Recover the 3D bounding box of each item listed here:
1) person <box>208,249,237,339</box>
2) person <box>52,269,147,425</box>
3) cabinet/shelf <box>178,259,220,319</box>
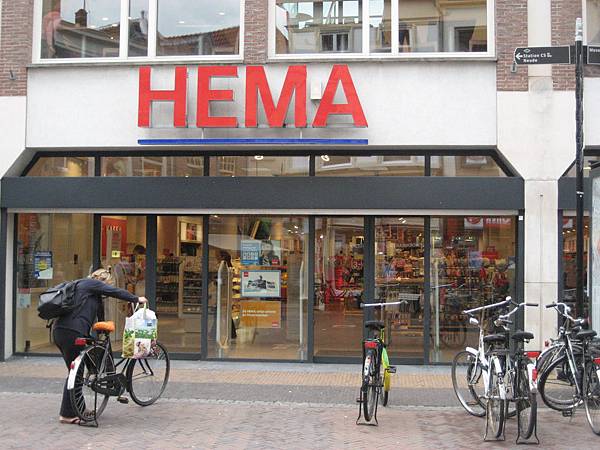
[{"bbox_3d":[-1.640,1.490,18.293,0.528,1.882,0.320,-1,8,-6],"label":"person"},{"bbox_3d":[-3.592,1.609,14.596,1.280,1.553,0.687,-2,8,-18],"label":"person"},{"bbox_3d":[-2.194,1.489,18.541,0.925,1.332,0.436,3,-30,-8],"label":"cabinet/shelf"}]
